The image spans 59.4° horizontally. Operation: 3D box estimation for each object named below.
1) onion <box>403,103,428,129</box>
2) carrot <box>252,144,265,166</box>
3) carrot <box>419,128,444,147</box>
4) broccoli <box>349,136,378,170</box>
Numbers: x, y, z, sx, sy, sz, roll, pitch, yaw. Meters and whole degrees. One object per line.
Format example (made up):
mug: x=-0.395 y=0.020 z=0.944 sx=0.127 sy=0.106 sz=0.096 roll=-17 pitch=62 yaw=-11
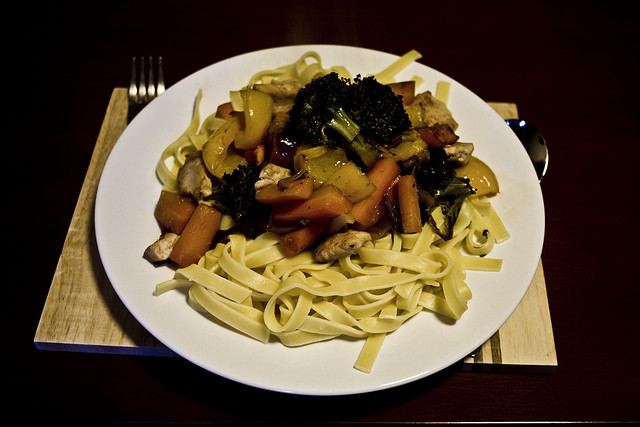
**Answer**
onion: x=1.052 y=-1.068 z=6.287 sx=0.276 sy=0.092 sz=0.283 roll=40 pitch=66 yaw=-14
carrot: x=-0.656 y=-0.634 z=6.007 sx=0.143 sy=0.054 sz=0.179 roll=-12 pitch=107 yaw=-37
carrot: x=1.204 y=-0.810 z=6.133 sx=0.206 sy=0.069 sz=0.166 roll=36 pitch=79 yaw=16
broccoli: x=0.468 y=-0.638 z=5.935 sx=0.238 sy=0.138 sz=0.334 roll=-45 pitch=99 yaw=-13
